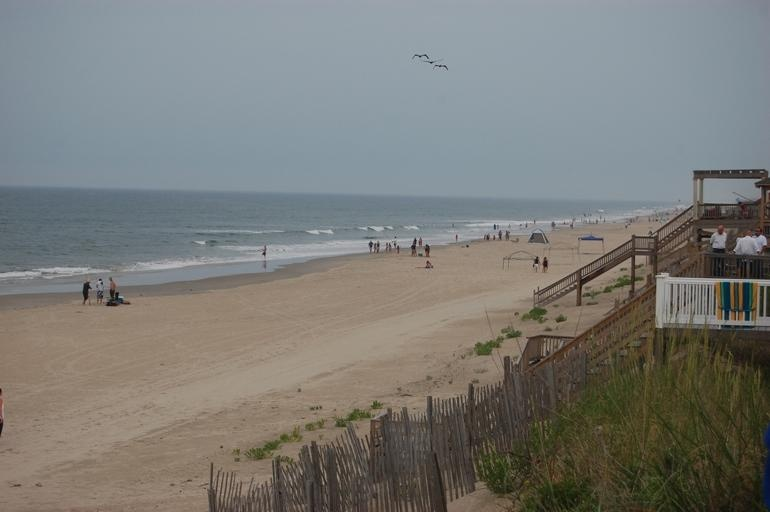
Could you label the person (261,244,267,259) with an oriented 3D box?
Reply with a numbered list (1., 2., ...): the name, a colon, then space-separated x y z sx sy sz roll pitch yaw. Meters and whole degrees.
1. person: -11.567 -0.394 68.301 0.816 0.673 2.081 2 -24 -10
